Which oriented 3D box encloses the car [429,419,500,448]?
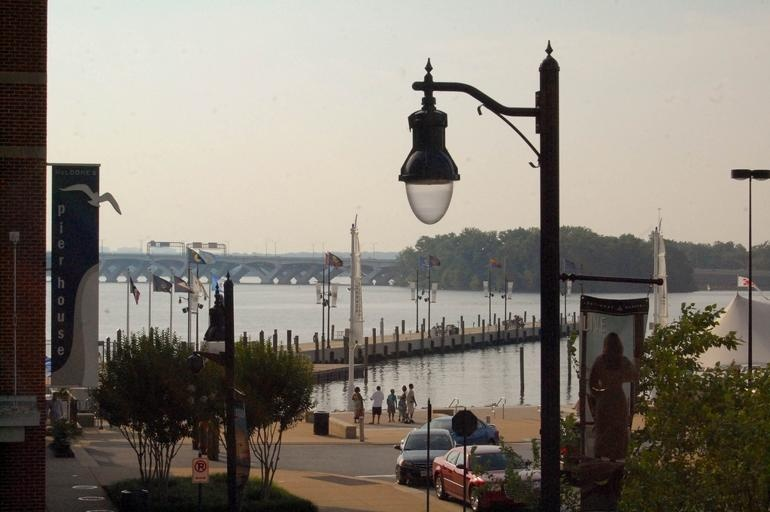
[{"bbox_3d":[3.752,7.451,81.998,1.293,1.001,2.931,-4,-10,29],"label":"car"}]

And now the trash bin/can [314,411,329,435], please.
[{"bbox_3d":[-2.874,7.702,89.174,0.847,0.970,0.882,1,2,27],"label":"trash bin/can"}]

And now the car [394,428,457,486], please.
[{"bbox_3d":[1.819,8.179,79.338,2.602,2.122,6.250,1,-1,0],"label":"car"}]
